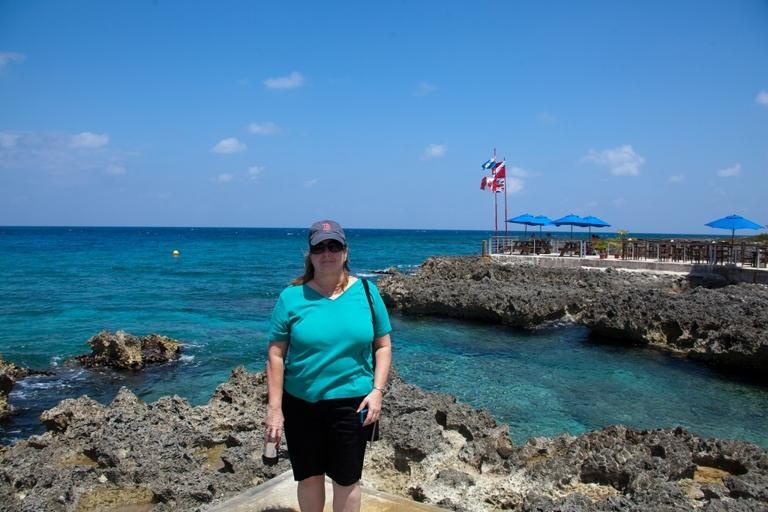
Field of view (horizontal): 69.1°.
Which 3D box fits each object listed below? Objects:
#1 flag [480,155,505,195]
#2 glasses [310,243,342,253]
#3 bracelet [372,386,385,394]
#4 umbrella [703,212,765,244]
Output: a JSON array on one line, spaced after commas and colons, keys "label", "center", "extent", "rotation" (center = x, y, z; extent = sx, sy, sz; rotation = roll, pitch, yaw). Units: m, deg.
[{"label": "flag", "center": [7.316, -5.325, 36.705], "extent": [1.210, 2.183, 2.901], "rotation": [0, 9, 6]}, {"label": "glasses", "center": [-0.722, -0.110, 7.206], "extent": [0.228, 0.059, 0.207], "rotation": [-5, -26, -10]}, {"label": "bracelet", "center": [-0.079, 1.753, 7.290], "extent": [0.138, 0.066, 0.102], "rotation": [14, -1, 28]}, {"label": "umbrella", "center": [17.787, -1.183, 28.174], "extent": [2.147, 1.253, 1.974], "rotation": [2, 4, 10]}]
